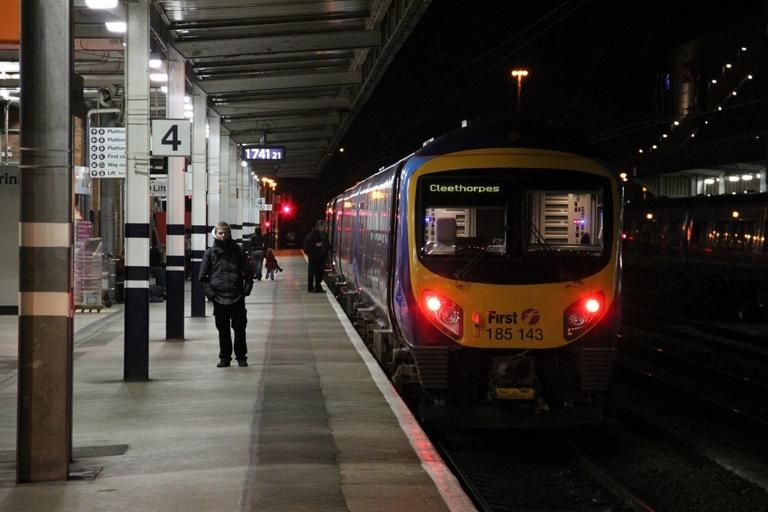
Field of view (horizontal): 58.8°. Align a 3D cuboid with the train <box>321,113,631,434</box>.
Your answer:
[{"bbox_3d":[0.909,0.296,10.003,2.373,4.397,4.683,0,5,-31],"label":"train"}]

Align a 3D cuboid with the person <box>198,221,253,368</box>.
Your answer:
[{"bbox_3d":[-2.657,0.681,11.478,0.873,2.479,0.838,2,4,-12],"label":"person"}]
